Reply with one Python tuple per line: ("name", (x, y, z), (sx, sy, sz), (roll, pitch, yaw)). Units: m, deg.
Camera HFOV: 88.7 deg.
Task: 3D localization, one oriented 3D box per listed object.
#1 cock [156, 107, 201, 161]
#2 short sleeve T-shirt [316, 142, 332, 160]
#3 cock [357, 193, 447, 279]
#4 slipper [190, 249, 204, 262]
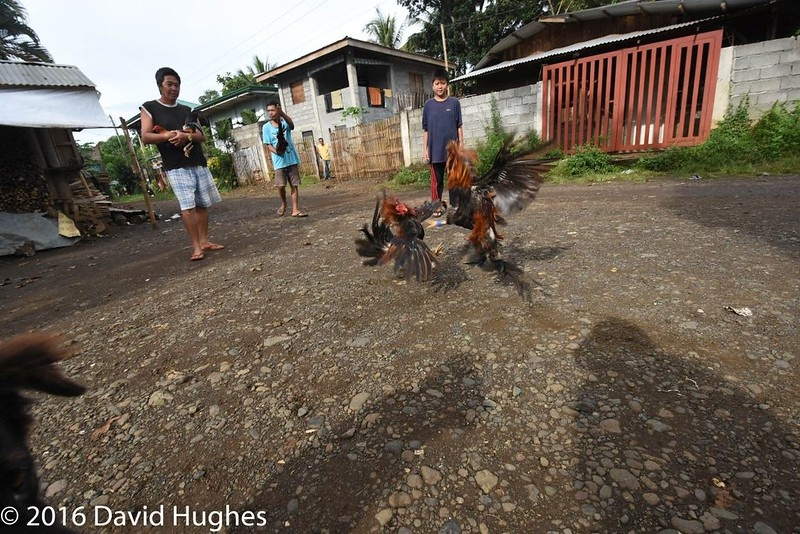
("cock", (-3.171, -1.950, 6.015), (0.552, 0.668, 0.275), (-1, 4, -2))
("short sleeve T-shirt", (-3.230, -4.928, 17.585), (0.458, 0.660, 0.370), (-11, 20, -8))
("cock", (-0.038, -0.374, 4.525), (0.975, 0.767, 1.483), (-4, 33, 2))
("slipper", (-3.175, -0.183, 6.401), (0.111, 0.101, 0.295), (-5, 6, -19))
